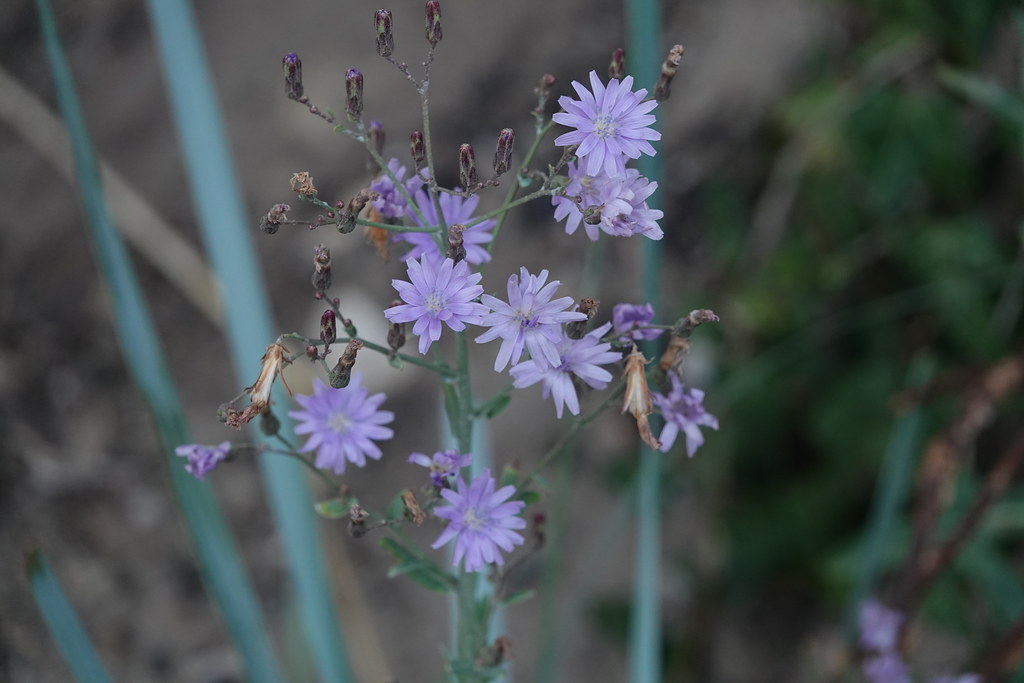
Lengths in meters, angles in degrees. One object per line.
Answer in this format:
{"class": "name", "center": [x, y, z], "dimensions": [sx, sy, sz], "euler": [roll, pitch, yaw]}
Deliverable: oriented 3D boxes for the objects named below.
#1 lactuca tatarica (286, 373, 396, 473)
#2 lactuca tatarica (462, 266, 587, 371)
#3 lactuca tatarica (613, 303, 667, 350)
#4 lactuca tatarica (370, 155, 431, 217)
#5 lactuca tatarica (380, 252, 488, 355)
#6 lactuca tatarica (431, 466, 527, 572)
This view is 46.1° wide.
{"class": "lactuca tatarica", "center": [-0.181, 0.088, 1.282], "dimensions": [0.106, 0.106, 0.058], "euler": [-11, 0, -8]}
{"class": "lactuca tatarica", "center": [0.012, -0.030, 1.188], "dimensions": [0.099, 0.030, 0.106], "euler": [10, -37, -33]}
{"class": "lactuca tatarica", "center": [0.132, -0.021, 1.279], "dimensions": [0.050, 0.043, 0.088], "euler": [-11, 0, 5]}
{"class": "lactuca tatarica", "center": [-0.104, -0.157, 1.261], "dimensions": [0.063, 0.035, 0.069], "euler": [-22, 4, -20]}
{"class": "lactuca tatarica", "center": [-0.073, -0.044, 1.197], "dimensions": [0.100, 0.040, 0.095], "euler": [-12, -20, 17]}
{"class": "lactuca tatarica", "center": [-0.031, 0.183, 1.227], "dimensions": [0.091, 0.103, 0.093], "euler": [-11, 0, -2]}
